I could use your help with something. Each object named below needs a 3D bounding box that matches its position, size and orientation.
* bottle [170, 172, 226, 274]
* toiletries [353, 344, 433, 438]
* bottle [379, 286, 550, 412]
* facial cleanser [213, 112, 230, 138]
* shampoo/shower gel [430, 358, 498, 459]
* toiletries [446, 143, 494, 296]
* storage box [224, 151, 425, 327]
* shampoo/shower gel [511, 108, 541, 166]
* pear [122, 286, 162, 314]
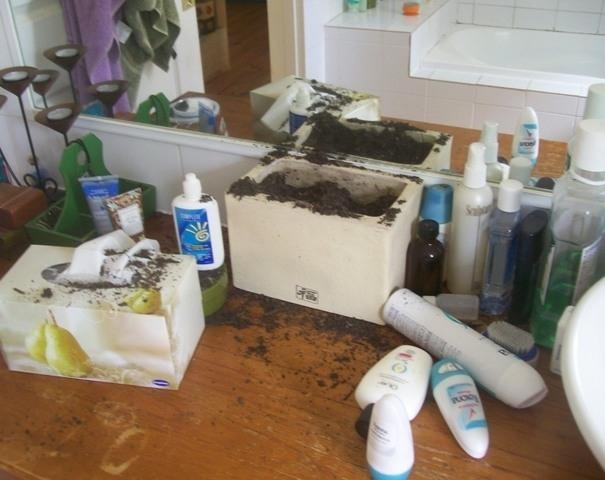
[{"bbox_3d":[-0.193,-0.032,0.940,0.090,0.185,0.046,0,30,3],"label":"bottle"},{"bbox_3d":[0.136,0.211,0.772,0.081,0.038,0.141,16,39,29],"label":"toiletries"},{"bbox_3d":[0.251,0.168,0.868,0.321,0.090,0.100,31,64,32],"label":"bottle"},{"bbox_3d":[-0.176,-0.250,1.118,0.026,0.055,0.031,28,53,25],"label":"facial cleanser"},{"bbox_3d":[0.224,0.249,0.762,0.086,0.104,0.100,-10,33,2],"label":"shampoo/shower gel"},{"bbox_3d":[0.270,-0.032,0.911,0.070,0.238,0.082,0,42,-8],"label":"toiletries"},{"bbox_3d":[0.032,-0.015,1.005,0.362,0.240,0.197,12,46,15],"label":"storage box"},{"bbox_3d":[0.379,-0.174,0.874,0.044,0.108,0.026,-2,37,15],"label":"shampoo/shower gel"},{"bbox_3d":[-0.241,0.093,0.778,0.050,0.019,0.047,-8,27,-13],"label":"pear"}]
